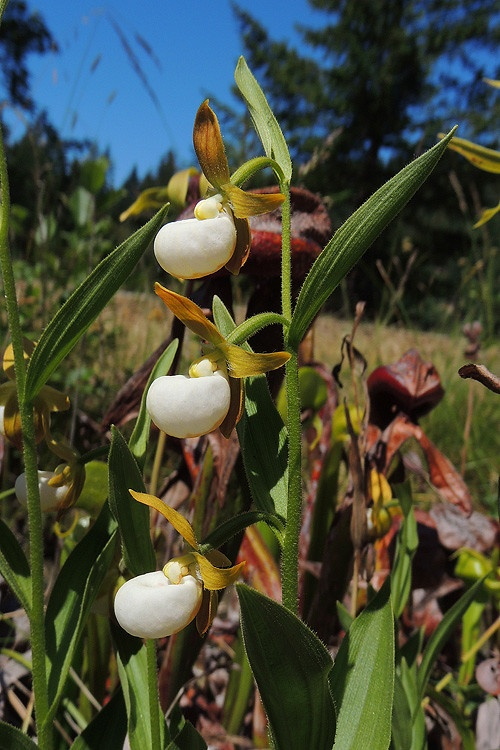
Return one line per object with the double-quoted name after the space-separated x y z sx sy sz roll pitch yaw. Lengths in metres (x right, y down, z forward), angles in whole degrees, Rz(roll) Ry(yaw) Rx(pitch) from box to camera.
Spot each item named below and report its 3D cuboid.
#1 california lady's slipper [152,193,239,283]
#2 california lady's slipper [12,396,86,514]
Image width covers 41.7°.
-0.053 -0.160 0.796 0.078 0.105 0.122 18 31 25 "california lady's slipper"
-0.266 0.117 0.895 0.096 0.153 0.075 -2 12 -33 "california lady's slipper"
